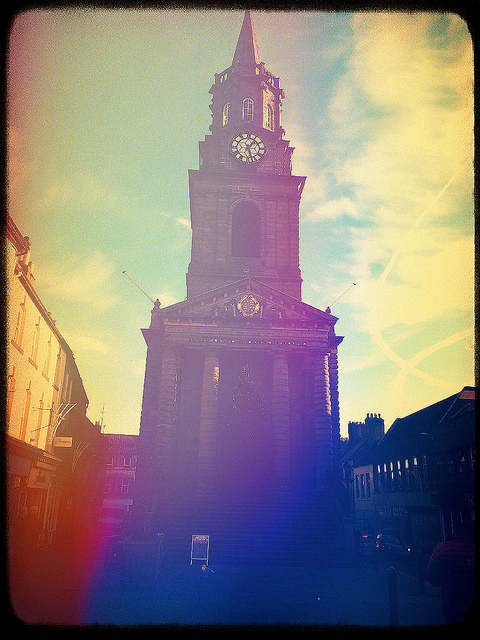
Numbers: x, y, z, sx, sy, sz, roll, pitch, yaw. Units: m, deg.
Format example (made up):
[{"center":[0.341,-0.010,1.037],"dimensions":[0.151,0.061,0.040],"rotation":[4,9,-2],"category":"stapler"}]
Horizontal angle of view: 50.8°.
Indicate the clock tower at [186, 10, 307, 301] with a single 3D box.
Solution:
[{"center":[0.571,-17.598,50.041],"dimensions":[10.605,34.949,11.543],"rotation":[-1,-5,21],"category":"clock tower"}]
